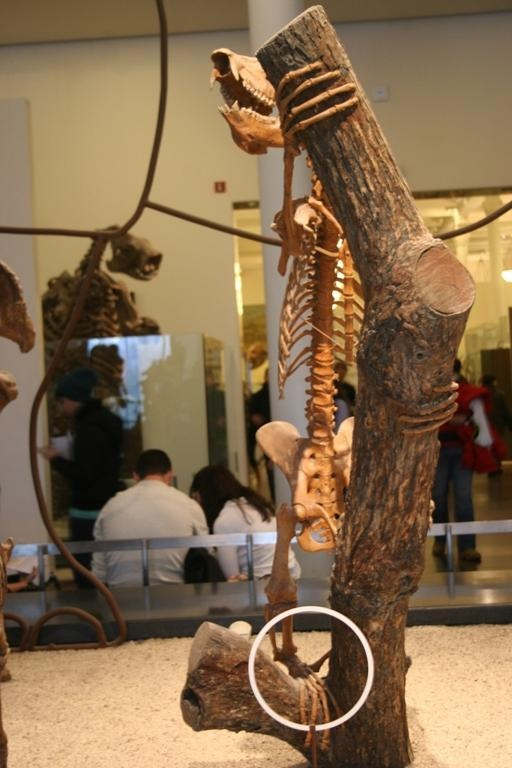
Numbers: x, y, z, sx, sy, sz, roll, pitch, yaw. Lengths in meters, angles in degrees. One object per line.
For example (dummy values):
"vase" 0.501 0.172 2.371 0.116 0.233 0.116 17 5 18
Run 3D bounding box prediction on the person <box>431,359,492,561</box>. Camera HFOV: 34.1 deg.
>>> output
"person" 1.205 0.491 4.906 0.317 1.106 0.508 2 5 29

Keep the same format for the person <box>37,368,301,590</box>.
"person" -0.555 0.520 4.635 1.269 1.161 0.461 1 4 19

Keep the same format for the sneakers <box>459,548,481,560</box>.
"sneakers" 1.247 1.005 4.852 0.132 0.084 0.098 0 4 3

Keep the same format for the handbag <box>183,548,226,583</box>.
"handbag" -0.281 0.990 4.490 0.232 0.187 0.070 1 4 13
